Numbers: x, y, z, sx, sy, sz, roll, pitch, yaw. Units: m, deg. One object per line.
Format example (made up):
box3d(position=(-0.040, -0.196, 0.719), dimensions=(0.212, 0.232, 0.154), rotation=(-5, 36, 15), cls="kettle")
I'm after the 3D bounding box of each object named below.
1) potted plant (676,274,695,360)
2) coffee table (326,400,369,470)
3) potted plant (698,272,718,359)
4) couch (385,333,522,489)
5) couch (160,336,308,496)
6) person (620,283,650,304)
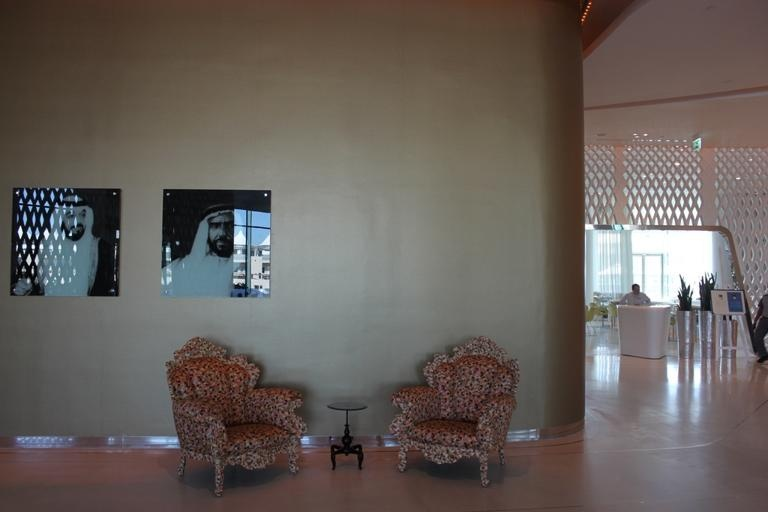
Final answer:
box3d(position=(6.553, 1.364, 12.933), dimensions=(0.420, 1.756, 0.392), rotation=(0, -4, 17), cls="potted plant")
box3d(position=(-0.454, 2.156, 7.290), dimensions=(0.659, 0.847, 0.660), rotation=(1, 4, -6), cls="coffee table")
box3d(position=(6.959, 1.406, 12.738), dimensions=(0.306, 1.416, 0.677), rotation=(2, 8, 18), cls="potted plant")
box3d(position=(0.895, 1.807, 7.060), dimensions=(1.337, 1.582, 1.000), rotation=(-1, -10, 30), cls="couch")
box3d(position=(-1.819, 1.833, 6.985), dimensions=(1.160, 1.573, 1.442), rotation=(-5, -7, 29), cls="couch")
box3d(position=(6.768, 1.019, 15.900), dimensions=(0.580, 0.802, 0.425), rotation=(0, -13, 6), cls="person")
